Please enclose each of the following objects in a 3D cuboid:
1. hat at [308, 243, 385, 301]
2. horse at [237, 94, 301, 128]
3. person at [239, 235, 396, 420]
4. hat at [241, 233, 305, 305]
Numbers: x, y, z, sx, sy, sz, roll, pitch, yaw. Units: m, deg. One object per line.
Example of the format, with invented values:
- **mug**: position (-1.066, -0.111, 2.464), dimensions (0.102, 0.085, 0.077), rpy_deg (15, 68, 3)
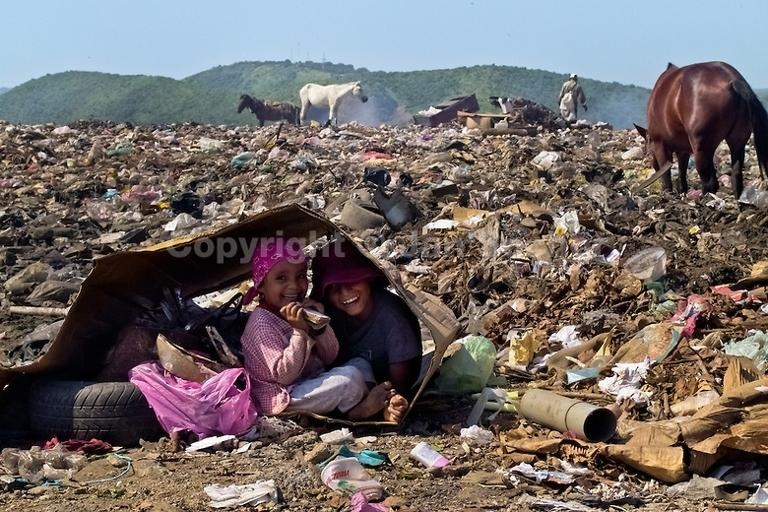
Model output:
- **hat**: position (-0.330, 0.072, 4.702), dimensions (0.486, 0.312, 0.618), rpy_deg (-16, -5, -1)
- **horse**: position (-4.804, -5.845, 26.744), dimensions (2.784, 1.459, 0.590), rpy_deg (-6, 23, -30)
- **person**: position (-0.465, 0.499, 4.469), dimensions (1.189, 1.212, 0.736), rpy_deg (-1, 4, 30)
- **hat**: position (-0.810, 0.086, 4.439), dimensions (0.467, 0.388, 0.343), rpy_deg (-20, -3, 19)
